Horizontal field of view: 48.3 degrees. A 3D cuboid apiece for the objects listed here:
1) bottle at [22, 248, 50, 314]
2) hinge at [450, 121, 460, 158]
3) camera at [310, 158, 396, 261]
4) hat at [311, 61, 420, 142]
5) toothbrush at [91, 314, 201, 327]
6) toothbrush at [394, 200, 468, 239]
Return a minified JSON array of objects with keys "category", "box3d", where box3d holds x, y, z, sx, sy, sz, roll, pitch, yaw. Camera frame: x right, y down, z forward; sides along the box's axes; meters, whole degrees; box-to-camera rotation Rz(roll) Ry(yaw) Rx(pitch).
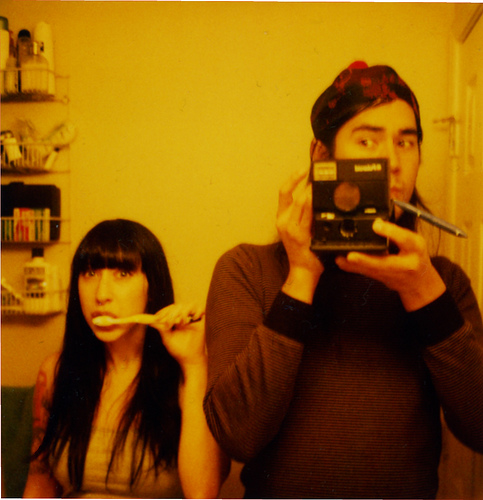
[{"category":"bottle","box3d":[-0.501,0.067,1.321,0.055,0.157,0.051,3,12,-1]},{"category":"hinge","box3d":[0.505,-0.263,1.277,0.026,0.069,0.004,1,1,-17]},{"category":"camera","box3d":[0.213,-0.083,1.070,0.126,0.182,0.179,-1,-6,9]},{"category":"hat","box3d":[0.292,-0.402,1.323,0.223,0.165,0.259,-9,6,39]},{"category":"toothbrush","box3d":[-0.230,0.171,1.299,0.262,0.036,0.006,2,1,0]},{"category":"toothbrush","box3d":[0.418,-0.072,1.196,0.161,0.018,0.017,32,-11,-9]}]
